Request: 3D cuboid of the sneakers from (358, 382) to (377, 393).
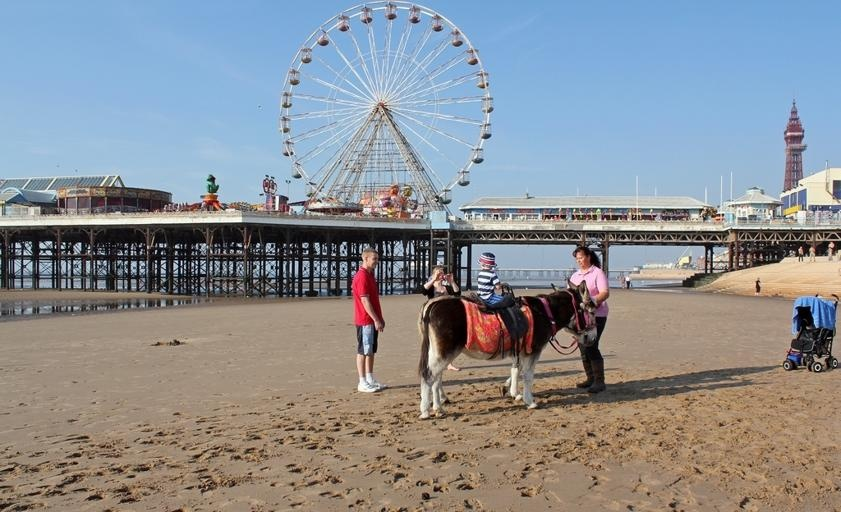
[{"bbox_3d":[-1.648,3.992,27.136,0.594,0.255,0.251,-2,-1,17],"label":"sneakers"}]
